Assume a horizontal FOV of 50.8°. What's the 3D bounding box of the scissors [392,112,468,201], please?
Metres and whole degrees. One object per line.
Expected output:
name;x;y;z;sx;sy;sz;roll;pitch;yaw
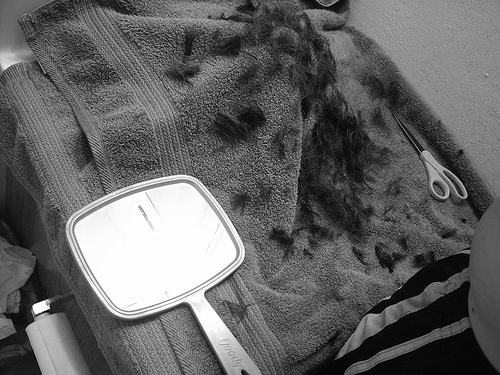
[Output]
scissors;0.444;-0.074;1.296;0.064;0.017;0.218;-26;78;-19
